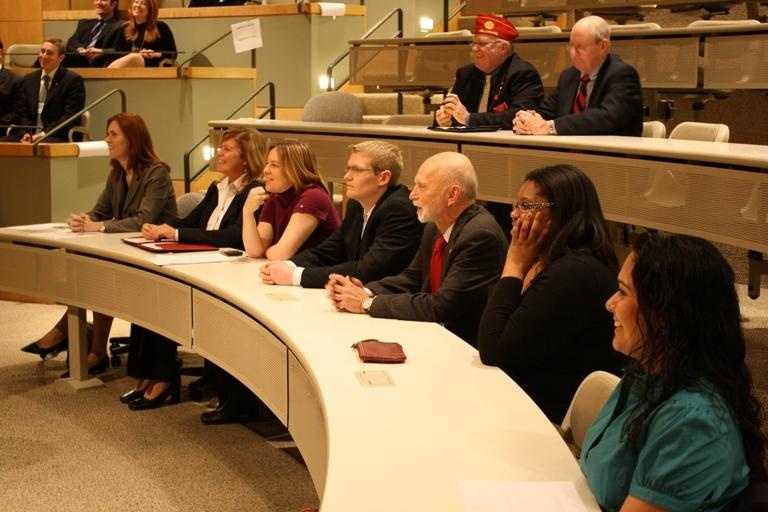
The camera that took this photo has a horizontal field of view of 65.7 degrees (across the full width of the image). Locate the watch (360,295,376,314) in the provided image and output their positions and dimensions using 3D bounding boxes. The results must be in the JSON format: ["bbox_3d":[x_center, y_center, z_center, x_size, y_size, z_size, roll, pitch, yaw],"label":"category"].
[{"bbox_3d":[-0.086,0.236,2.880,0.052,0.082,0.078,19,-3,-15],"label":"watch"}]

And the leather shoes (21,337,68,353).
[{"bbox_3d":[-2.935,0.785,5.084,0.409,0.120,0.145,1,10,-13],"label":"leather shoes"}]

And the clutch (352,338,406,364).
[{"bbox_3d":[-0.014,0.382,2.386,0.189,0.052,0.132,-2,14,-5],"label":"clutch"}]

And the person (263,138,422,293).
[{"bbox_3d":[-0.411,-0.264,3.640,1.020,0.855,0.697,-1,5,-21],"label":"person"}]

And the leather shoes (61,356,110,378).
[{"bbox_3d":[-2.365,0.887,4.790,0.125,0.141,0.379,0,1,40],"label":"leather shoes"}]

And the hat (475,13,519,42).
[{"bbox_3d":[0.962,-1.991,5.154,0.283,0.147,0.250,6,15,6],"label":"hat"}]

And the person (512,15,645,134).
[{"bbox_3d":[1.464,-1.298,4.778,1.055,0.980,1.014,-2,6,-27],"label":"person"}]

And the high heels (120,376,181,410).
[{"bbox_3d":[-1.679,0.977,4.281,0.363,0.158,0.212,-1,5,-19],"label":"high heels"}]
